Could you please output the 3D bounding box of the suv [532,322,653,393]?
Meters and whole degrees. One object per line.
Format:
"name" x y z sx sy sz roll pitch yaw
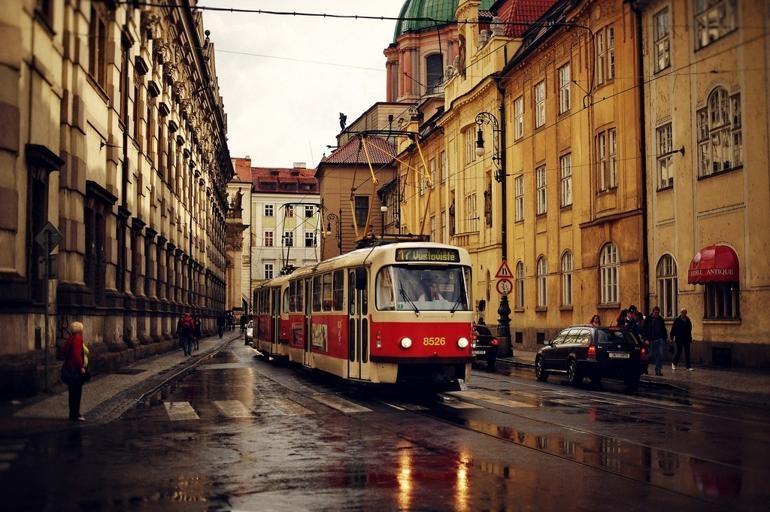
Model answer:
"suv" 6.689 3.314 29.007 1.311 2.194 3.630 6 -10 -40

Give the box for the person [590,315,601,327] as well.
"person" 8.395 2.617 35.446 0.348 0.485 0.890 3 -6 2

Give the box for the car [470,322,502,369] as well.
"car" 4.002 3.612 35.614 1.029 1.186 2.565 0 -1 -1

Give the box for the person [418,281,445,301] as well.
"person" 1.259 1.003 24.334 0.722 0.799 0.410 1 -2 -16

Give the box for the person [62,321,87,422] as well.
"person" -7.637 2.842 21.865 0.591 2.396 0.960 4 -8 -28
